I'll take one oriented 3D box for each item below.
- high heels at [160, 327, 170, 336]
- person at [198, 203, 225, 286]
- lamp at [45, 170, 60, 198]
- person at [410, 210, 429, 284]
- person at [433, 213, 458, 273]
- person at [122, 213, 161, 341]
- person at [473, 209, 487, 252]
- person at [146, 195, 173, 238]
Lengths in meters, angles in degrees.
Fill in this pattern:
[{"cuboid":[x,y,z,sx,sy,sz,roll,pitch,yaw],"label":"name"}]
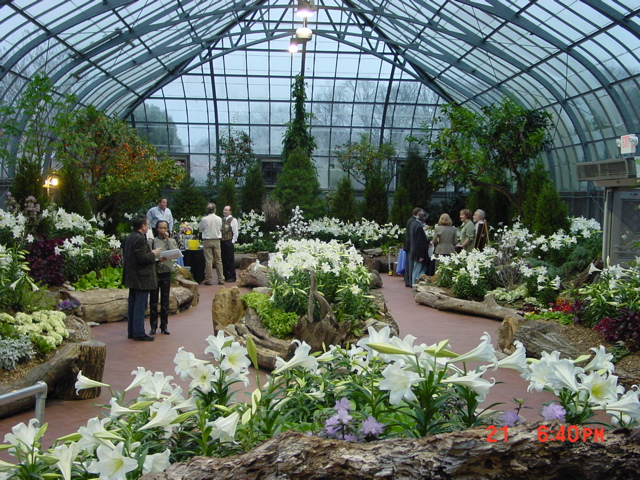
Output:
[{"cuboid":[-2.387,1.404,7.632,0.064,0.109,0.209,-1,-7,-38],"label":"high heels"},{"cuboid":[-2.634,0.111,12.170,0.575,1.998,1.042,-2,4,-17],"label":"person"},{"cuboid":[-6.651,-1.376,12.386,0.293,0.720,1.077,-3,4,-28],"label":"lamp"},{"cuboid":[2.304,0.181,11.576,0.411,1.800,0.971,-1,3,10],"label":"person"},{"cuboid":[2.811,-0.096,11.193,0.555,1.007,0.759,-1,4,15],"label":"person"},{"cuboid":[-2.628,0.553,7.273,0.522,1.806,0.441,1,4,32],"label":"person"},{"cuboid":[3.543,-0.221,10.942,0.271,0.895,0.758,0,4,19],"label":"person"},{"cuboid":[-3.847,-0.210,11.880,0.636,1.587,0.394,3,1,-22],"label":"person"}]
